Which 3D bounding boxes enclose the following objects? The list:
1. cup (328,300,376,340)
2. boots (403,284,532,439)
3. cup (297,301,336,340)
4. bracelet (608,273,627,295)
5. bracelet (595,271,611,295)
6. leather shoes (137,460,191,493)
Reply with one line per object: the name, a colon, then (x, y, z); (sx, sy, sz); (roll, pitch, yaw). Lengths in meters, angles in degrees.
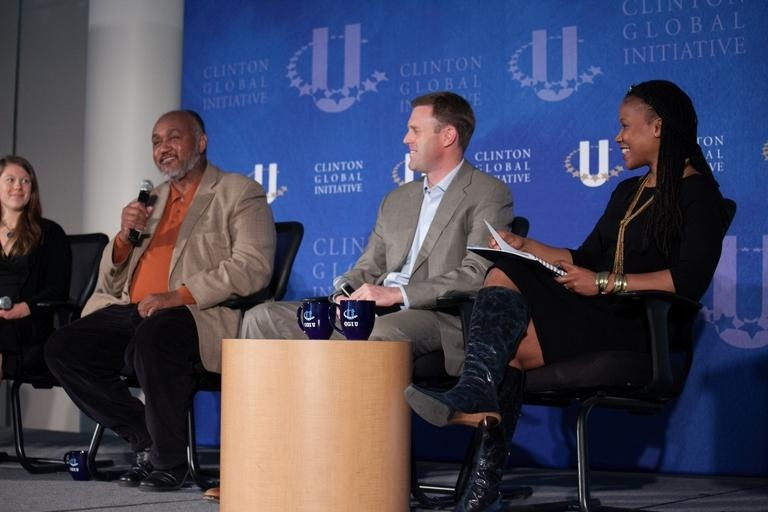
cup: (-0.115, 0.254, 3.391); (0.137, 0.159, 0.214); (2, -2, -19)
boots: (0.327, 0.372, 3.213); (0.222, 0.512, 0.497); (0, -2, 41)
cup: (-0.276, 0.253, 3.383); (0.133, 0.155, 0.165); (7, -9, -43)
bracelet: (0.968, 0.111, 3.494); (0.072, 0.088, 0.092); (4, -46, 1)
bracelet: (0.890, 0.117, 3.426); (0.068, 0.078, 0.083); (-3, 0, -11)
leather shoes: (-1.029, 1.042, 3.882); (0.220, 0.082, 0.104); (10, -13, -40)
